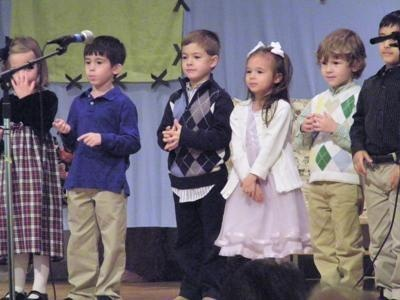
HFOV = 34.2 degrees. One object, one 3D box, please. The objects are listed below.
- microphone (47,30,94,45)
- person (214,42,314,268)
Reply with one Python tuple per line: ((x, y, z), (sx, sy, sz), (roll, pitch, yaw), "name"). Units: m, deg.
((-0.687, -0.600, 3.447), (0.115, 0.065, 0.263), (-5, -2, 40), "microphone")
((0.302, -0.007, 3.512), (0.500, 1.110, 0.336), (-4, -1, 4), "person")
